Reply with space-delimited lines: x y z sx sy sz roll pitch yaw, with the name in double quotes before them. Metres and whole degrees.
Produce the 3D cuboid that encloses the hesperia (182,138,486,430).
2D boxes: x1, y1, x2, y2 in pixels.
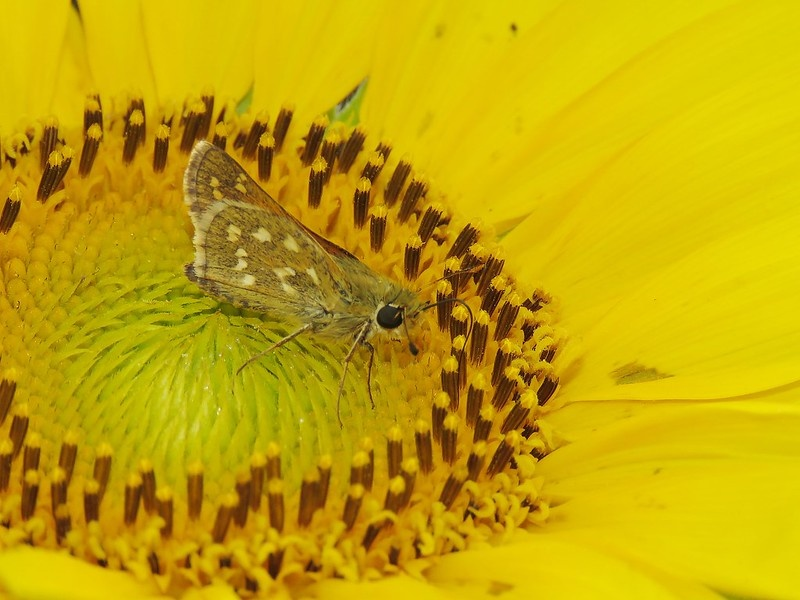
"hesperia" -0.280 -0.094 3.363 1.125 0.848 0.573 15 15 1
